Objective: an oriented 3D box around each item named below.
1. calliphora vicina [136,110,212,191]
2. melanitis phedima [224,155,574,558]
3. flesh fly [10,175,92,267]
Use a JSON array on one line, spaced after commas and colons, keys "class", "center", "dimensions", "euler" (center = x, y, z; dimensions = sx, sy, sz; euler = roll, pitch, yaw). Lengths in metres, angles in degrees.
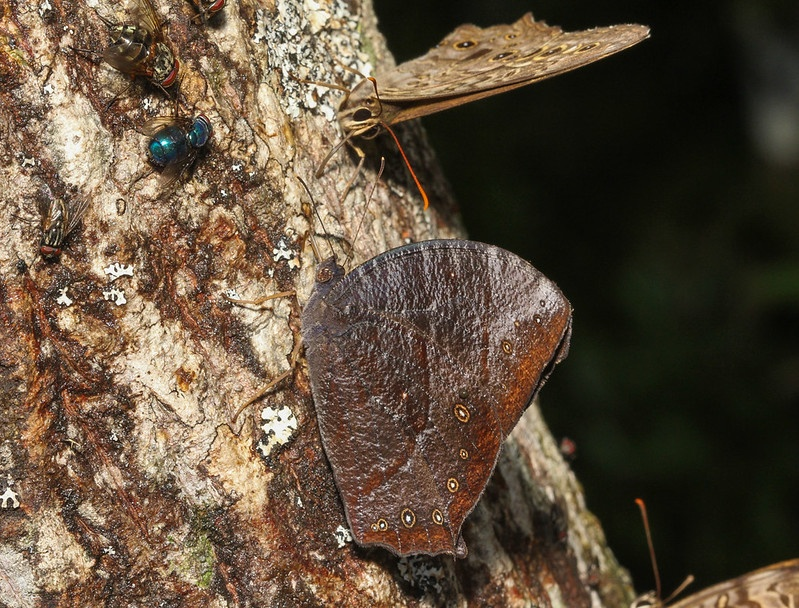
[{"class": "calliphora vicina", "center": [-1.108, -0.816, 6.701], "dimensions": [0.355, 0.353, 0.474], "euler": [-4, 17, -5]}, {"class": "melanitis phedima", "center": [0.112, 0.473, 6.658], "dimensions": [1.345, 1.568, 0.538], "euler": [14, -17, 7]}, {"class": "flesh fly", "center": [-1.731, -0.430, 6.488], "dimensions": [0.332, 0.401, 0.331], "euler": [-5, 16, -22]}]
